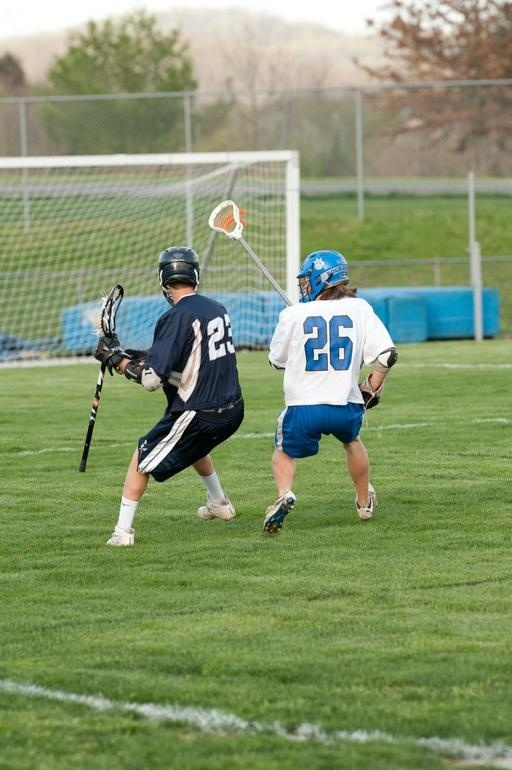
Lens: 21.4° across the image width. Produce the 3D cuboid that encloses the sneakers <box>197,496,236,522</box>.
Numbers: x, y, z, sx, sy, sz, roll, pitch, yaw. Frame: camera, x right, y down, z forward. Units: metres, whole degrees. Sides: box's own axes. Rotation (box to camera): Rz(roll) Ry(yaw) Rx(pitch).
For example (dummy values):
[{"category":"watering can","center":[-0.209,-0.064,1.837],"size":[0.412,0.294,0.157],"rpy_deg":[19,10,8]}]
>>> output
[{"category":"sneakers","center":[-0.174,0.572,6.059],"size":[0.204,0.100,0.076],"rpy_deg":[0,4,33]}]

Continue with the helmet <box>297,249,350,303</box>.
[{"category":"helmet","center":[0.302,-0.475,5.864],"size":[0.230,0.228,0.185],"rpy_deg":[2,12,27]}]

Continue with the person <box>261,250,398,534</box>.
[{"category":"person","center":[0.316,0.034,5.796],"size":[0.566,1.198,0.440],"rpy_deg":[-3,7,-12]}]

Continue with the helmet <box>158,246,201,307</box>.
[{"category":"helmet","center":[-0.319,-0.462,5.686],"size":[0.183,0.235,0.238],"rpy_deg":[-3,-7,-8]}]

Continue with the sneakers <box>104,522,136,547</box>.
[{"category":"sneakers","center":[-0.551,0.652,5.639],"size":[0.155,0.069,0.052],"rpy_deg":[0,2,-2]}]

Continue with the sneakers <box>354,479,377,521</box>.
[{"category":"sneakers","center":[0.489,0.516,6.066],"size":[0.064,0.191,0.083],"rpy_deg":[-7,-36,20]}]

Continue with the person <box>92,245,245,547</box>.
[{"category":"person","center":[-0.362,0.047,5.689],"size":[0.603,1.234,0.627],"rpy_deg":[-2,7,-6]}]
